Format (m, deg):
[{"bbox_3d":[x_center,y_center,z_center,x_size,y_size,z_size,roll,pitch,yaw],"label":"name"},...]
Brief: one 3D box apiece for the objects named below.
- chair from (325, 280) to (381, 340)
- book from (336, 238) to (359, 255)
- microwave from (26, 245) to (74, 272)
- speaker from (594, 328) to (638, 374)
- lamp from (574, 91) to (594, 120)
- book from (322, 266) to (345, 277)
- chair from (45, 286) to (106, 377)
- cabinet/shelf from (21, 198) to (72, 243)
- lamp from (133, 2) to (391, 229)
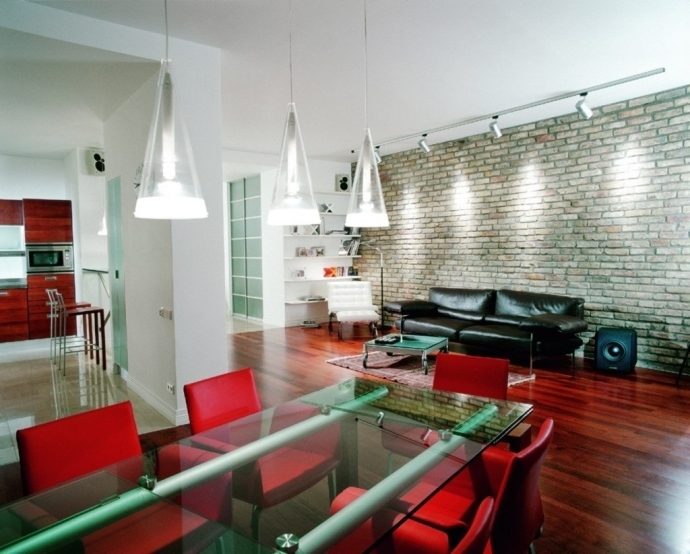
[{"bbox_3d":[0.199,0.466,7.886,0.773,0.805,0.969,-1,-2,-10],"label":"chair"},{"bbox_3d":[0.099,-0.582,9.024,0.343,0.317,0.079,5,-11,14],"label":"book"},{"bbox_3d":[-4.467,-0.294,7.267,0.365,0.429,0.696,3,4,41],"label":"microwave"},{"bbox_3d":[3.031,0.813,5.485,0.464,0.597,0.518,-1,-1,43],"label":"speaker"},{"bbox_3d":[2.728,-1.964,5.425,0.150,0.249,0.250,-14,-18,-6],"label":"lamp"},{"bbox_3d":[-0.194,-0.188,8.851,0.393,0.255,0.194,1,10,-3],"label":"book"},{"bbox_3d":[-3.515,0.729,6.247,0.419,0.701,0.980,-3,7,-31],"label":"chair"},{"bbox_3d":[-4.530,-0.860,7.221,0.452,0.781,0.730,2,3,44],"label":"cabinet/shelf"},{"bbox_3d":[-0.671,-1.499,4.160,2.047,1.964,0.444,-3,5,-42],"label":"lamp"}]
